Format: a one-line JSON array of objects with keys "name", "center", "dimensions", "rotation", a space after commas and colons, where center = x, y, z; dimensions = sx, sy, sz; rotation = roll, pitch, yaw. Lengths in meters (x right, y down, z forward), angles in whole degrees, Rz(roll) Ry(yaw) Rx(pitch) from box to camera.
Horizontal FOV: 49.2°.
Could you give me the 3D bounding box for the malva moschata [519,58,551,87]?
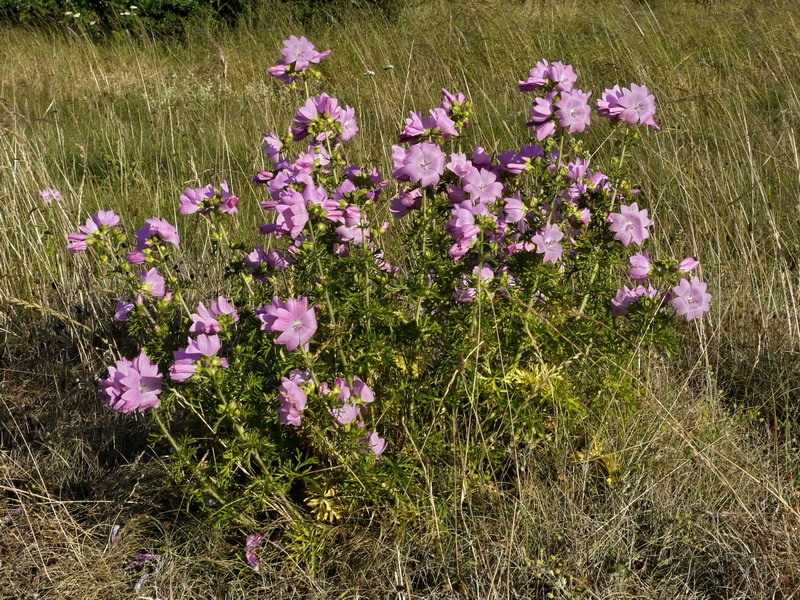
[{"name": "malva moschata", "center": [0.754, -1.273, 5.019], "dimensions": [0.182, 0.151, 0.261], "rotation": [-10, 25, 3]}]
